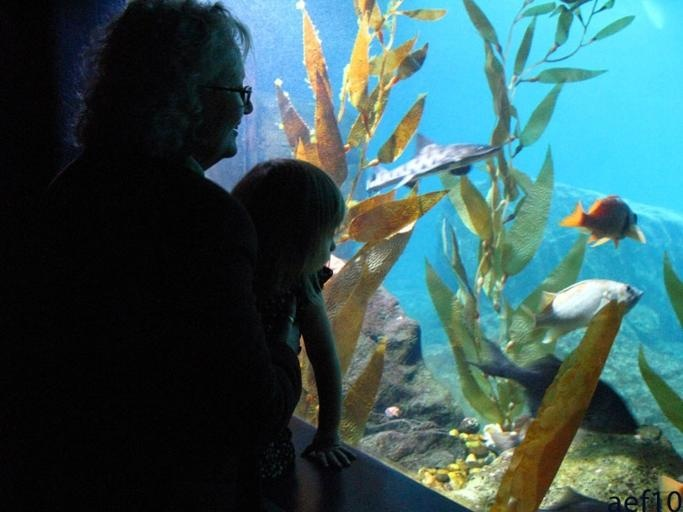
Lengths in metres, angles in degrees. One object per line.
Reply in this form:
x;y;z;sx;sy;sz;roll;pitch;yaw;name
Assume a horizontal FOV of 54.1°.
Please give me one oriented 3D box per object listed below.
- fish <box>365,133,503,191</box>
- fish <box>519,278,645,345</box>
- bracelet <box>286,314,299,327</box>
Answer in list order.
0.291;-0.323;2.195;0.502;0.182;0.127;-8;-11;28;fish
0.633;0.153;1.766;0.081;0.193;0.290;11;4;-27;fish
-0.122;0.157;1.666;0.020;0.022;0.020;2;-7;-17;bracelet
